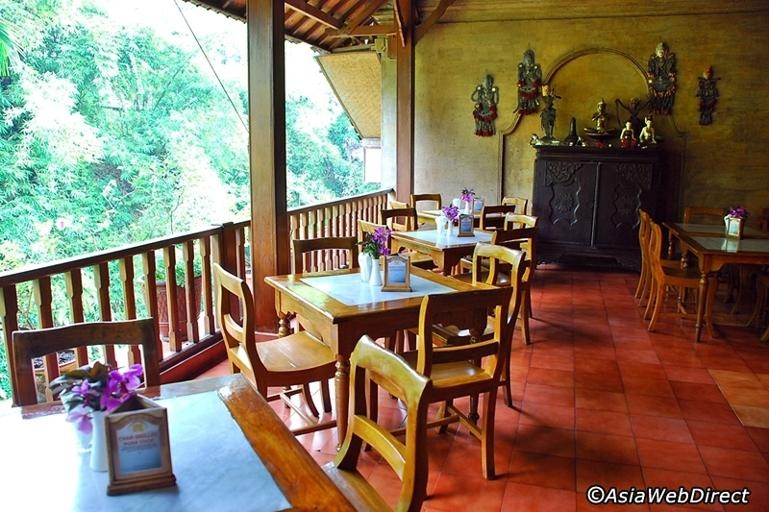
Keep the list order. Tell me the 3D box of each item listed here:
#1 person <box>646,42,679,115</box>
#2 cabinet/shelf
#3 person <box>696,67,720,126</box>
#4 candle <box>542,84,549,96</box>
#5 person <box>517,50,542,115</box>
[{"bbox_3d":[4.165,-2.644,8.328,0.407,1.046,0.148,4,12,26],"label":"person"},{"bbox_3d":[3.162,-0.754,8.140,1.933,1.883,0.749,2,6,16],"label":"cabinet/shelf"},{"bbox_3d":[4.777,-2.327,8.220,0.308,0.801,0.084,-1,11,2],"label":"person"},{"bbox_3d":[2.535,-2.574,8.702,0.130,0.207,0.162,0,10,8],"label":"candle"},{"bbox_3d":[2.315,-2.720,8.805,0.384,0.988,0.092,1,11,12],"label":"person"}]
